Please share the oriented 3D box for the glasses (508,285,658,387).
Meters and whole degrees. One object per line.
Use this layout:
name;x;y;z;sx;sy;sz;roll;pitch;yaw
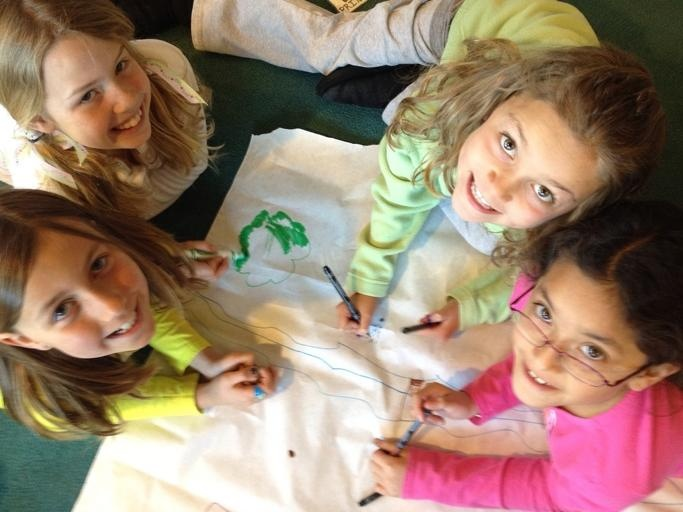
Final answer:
glasses;0.462;0.152;1.218;0.208;0.053;0.207;-18;51;-39
